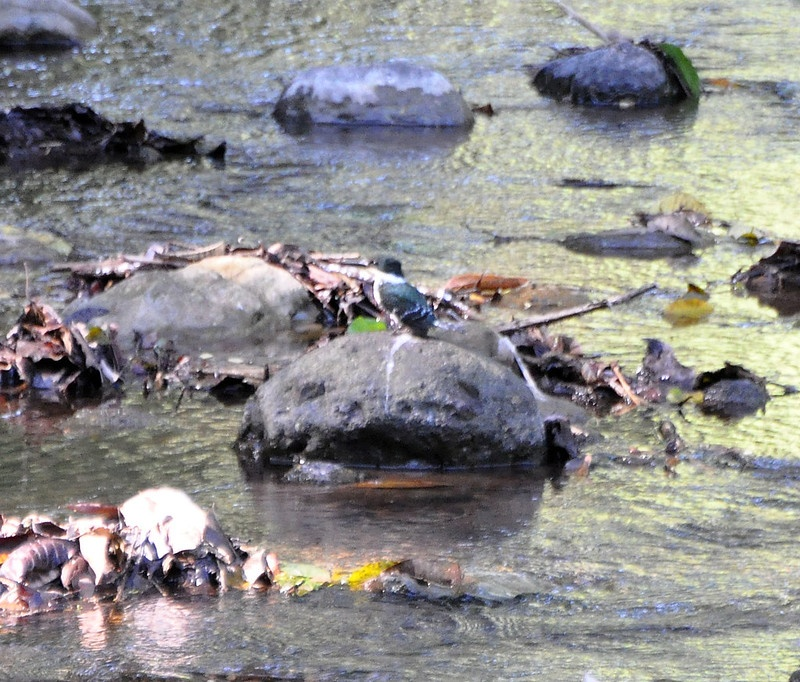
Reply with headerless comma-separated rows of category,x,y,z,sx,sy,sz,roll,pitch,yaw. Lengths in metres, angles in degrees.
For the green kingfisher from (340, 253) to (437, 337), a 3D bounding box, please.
green kingfisher,0.007,-0.225,9.206,0.327,0.235,0.661,0,18,-6
